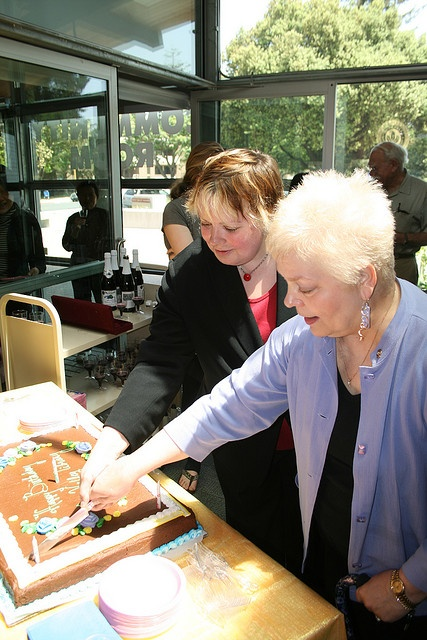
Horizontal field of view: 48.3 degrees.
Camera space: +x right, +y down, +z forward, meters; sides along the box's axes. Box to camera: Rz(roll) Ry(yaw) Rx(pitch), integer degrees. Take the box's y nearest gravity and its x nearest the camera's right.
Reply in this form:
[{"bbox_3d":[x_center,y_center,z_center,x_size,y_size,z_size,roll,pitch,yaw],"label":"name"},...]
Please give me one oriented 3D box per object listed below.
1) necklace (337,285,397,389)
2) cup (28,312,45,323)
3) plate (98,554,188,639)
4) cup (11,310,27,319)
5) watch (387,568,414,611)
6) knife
[{"bbox_3d":[0.273,0.038,0.852,0.118,0.165,0.041,2,-5,41],"label":"necklace"},{"bbox_3d":[-0.839,-0.014,2.257,0.040,0.042,0.053,7,14,18],"label":"cup"},{"bbox_3d":[-0.113,0.437,0.765,0.134,0.064,0.148,-4,14,-6],"label":"plate"},{"bbox_3d":[-0.883,-0.026,2.179,0.041,0.035,0.045,1,12,1],"label":"cup"},{"bbox_3d":[0.312,0.454,0.796,0.023,0.048,0.053,-28,27,12],"label":"watch"},{"bbox_3d":[-0.268,0.370,0.911,0.011,0.032,0.212,-44,-1,32],"label":"knife"}]
